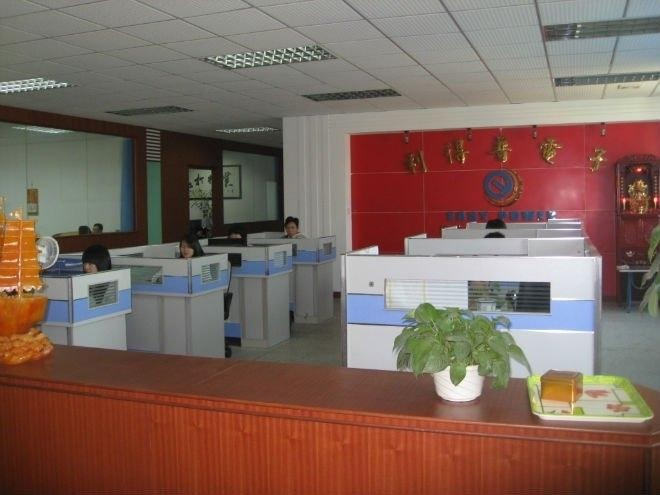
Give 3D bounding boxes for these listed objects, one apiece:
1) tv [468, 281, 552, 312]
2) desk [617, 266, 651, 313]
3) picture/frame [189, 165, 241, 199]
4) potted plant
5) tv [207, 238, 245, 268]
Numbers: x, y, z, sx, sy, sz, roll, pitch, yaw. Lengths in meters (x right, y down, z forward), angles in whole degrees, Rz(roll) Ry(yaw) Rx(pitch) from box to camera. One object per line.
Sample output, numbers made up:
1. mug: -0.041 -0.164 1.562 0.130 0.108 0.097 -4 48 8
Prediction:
1. tv: 1.331 0.370 3.813 0.632 0.243 0.016 1 -2 -4
2. desk: 4.944 0.653 8.468 0.426 0.709 0.752 2 10 29
3. picture/frame: -3.132 -1.790 13.852 1.147 0.663 0.026 -5 10 -37
4. potted plant: 0.510 0.415 2.063 0.467 0.395 0.394 -3 9 -7
5. tv: -1.333 0.051 6.786 0.424 0.407 0.276 0 3 3
